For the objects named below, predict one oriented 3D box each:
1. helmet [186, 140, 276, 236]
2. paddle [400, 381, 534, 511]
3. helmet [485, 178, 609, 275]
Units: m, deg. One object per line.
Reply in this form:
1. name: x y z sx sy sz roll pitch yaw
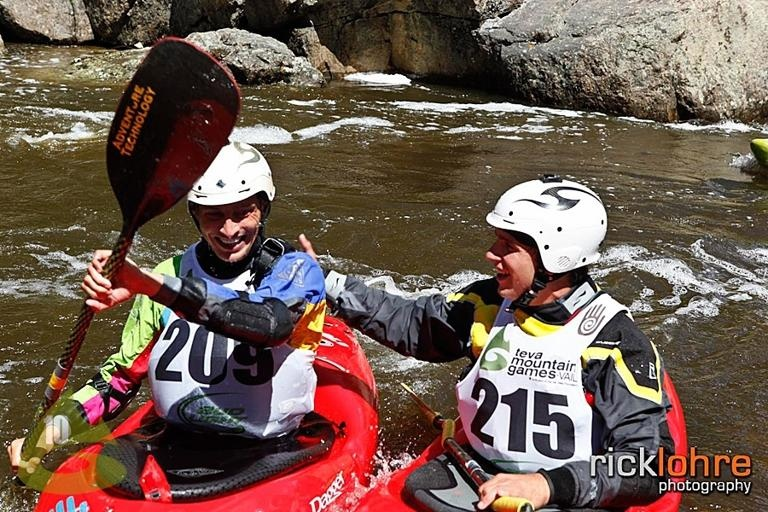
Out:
1. helmet: -0.830 -0.362 4.081 0.402 0.502 0.404 -2 60 -5
2. paddle: 0.432 1.106 4.087 0.185 0.130 1.050 9 15 -22
3. helmet: 0.832 -0.167 3.940 0.625 0.493 0.456 4 5 3
